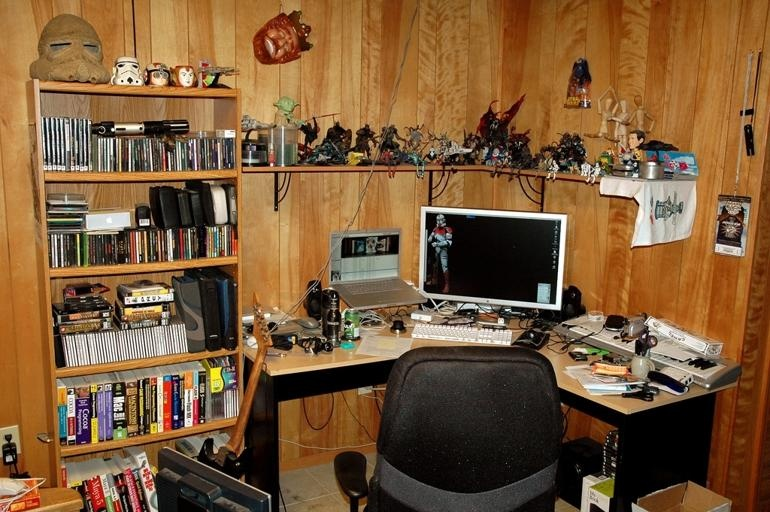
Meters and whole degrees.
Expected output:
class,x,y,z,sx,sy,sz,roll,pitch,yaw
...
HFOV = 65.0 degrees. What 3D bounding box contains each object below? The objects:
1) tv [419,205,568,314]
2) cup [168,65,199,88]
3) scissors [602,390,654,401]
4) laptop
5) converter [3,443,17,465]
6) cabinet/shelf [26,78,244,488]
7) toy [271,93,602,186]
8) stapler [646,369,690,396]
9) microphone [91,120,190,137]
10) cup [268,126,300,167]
class,x,y,z,sx,sy,sz,roll,pitch,yaw
tv,0.632,0.017,3.560,0.642,0.452,0.064,4,8,15
cup,-1.033,-0.923,3.120,0.126,0.107,0.123,-1,2,0
scissors,1.164,0.661,2.880,0.203,0.005,0.073,-3,35,7
laptop,-0.066,0.062,3.713,0.604,0.434,0.494,-4,14,-26
converter,-1.984,1.052,3.215,0.073,0.119,0.064,-8,10,-32
cabinet/shelf,-1.303,0.090,3.263,1.068,1.987,0.487,-7,10,-27
toy,0.299,-0.727,3.796,1.876,0.546,0.798,-2,9,1
stapler,1.361,0.613,2.937,0.135,0.045,0.106,21,31,38
microphone,-1.238,-0.648,3.085,0.469,0.090,0.098,-5,3,-22
cup,-0.578,-0.623,3.498,0.215,0.235,0.216,1,2,0
